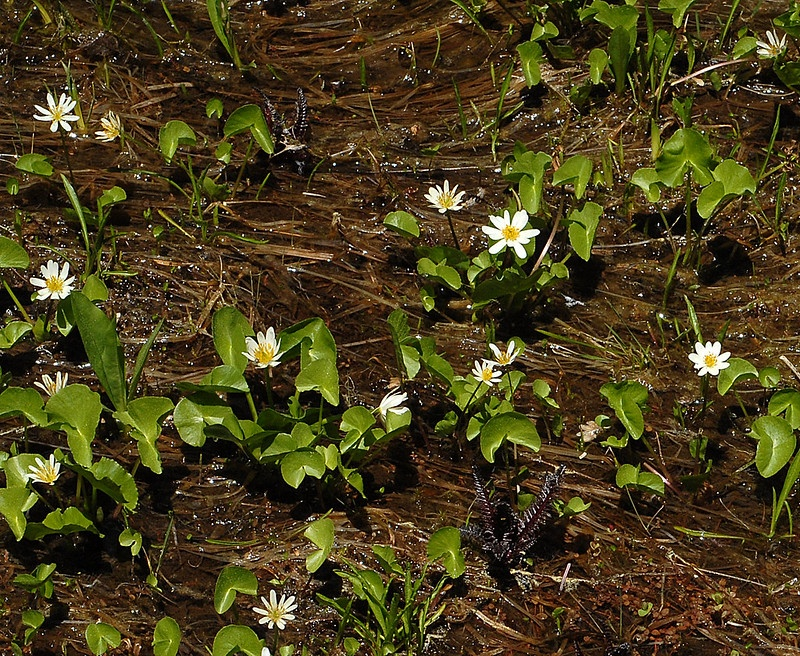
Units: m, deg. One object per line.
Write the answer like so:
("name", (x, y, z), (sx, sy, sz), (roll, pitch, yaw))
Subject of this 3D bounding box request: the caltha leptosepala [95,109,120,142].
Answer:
("caltha leptosepala", (-1.353, -0.923, 4.503), (0.068, 0.142, 0.155), (6, 60, -41))

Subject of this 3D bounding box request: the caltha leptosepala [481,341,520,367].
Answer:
("caltha leptosepala", (0.402, 0.107, 3.869), (0.112, 0.057, 0.128), (-12, 46, 9))

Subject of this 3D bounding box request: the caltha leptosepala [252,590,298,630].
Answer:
("caltha leptosepala", (-0.449, 1.016, 3.589), (0.157, 0.065, 0.181), (-13, 72, -1))

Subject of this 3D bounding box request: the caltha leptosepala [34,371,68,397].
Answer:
("caltha leptosepala", (-1.392, 0.222, 3.888), (0.062, 0.040, 0.070), (13, 30, 40))

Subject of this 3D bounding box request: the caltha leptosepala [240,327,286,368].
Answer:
("caltha leptosepala", (-0.529, 0.078, 3.765), (0.132, 0.065, 0.165), (11, 89, 13))

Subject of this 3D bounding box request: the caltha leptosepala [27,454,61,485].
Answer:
("caltha leptosepala", (-1.335, 0.548, 3.684), (0.116, 0.066, 0.134), (-6, 67, -12))

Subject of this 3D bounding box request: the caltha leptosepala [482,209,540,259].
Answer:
("caltha leptosepala", (0.444, -0.364, 4.020), (0.217, 0.157, 0.206), (12, 67, 6))

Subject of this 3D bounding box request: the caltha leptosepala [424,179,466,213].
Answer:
("caltha leptosepala", (0.179, -0.552, 4.238), (0.153, 0.065, 0.171), (-20, 76, -10))
